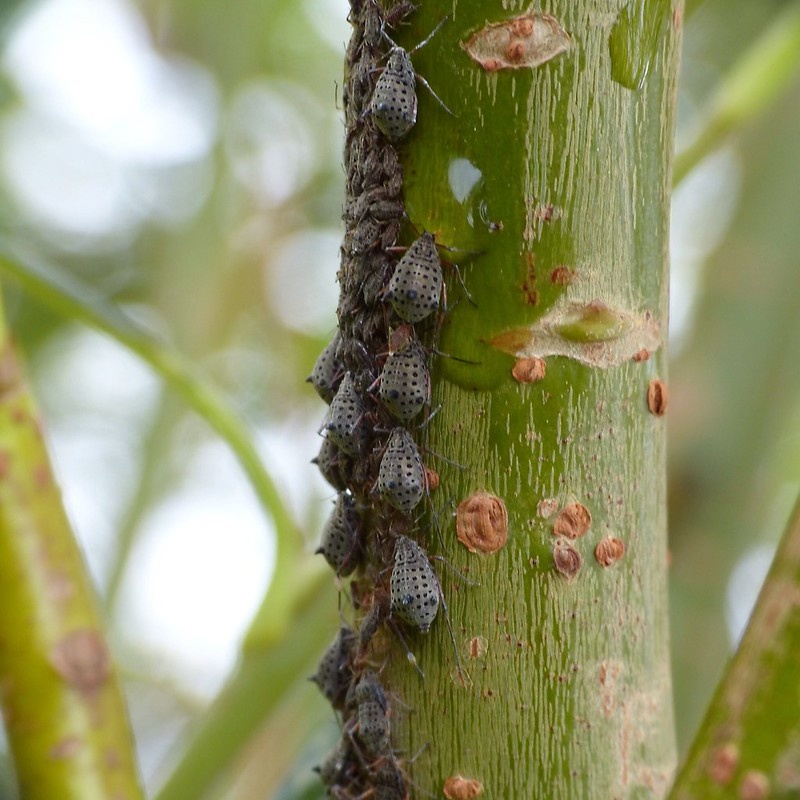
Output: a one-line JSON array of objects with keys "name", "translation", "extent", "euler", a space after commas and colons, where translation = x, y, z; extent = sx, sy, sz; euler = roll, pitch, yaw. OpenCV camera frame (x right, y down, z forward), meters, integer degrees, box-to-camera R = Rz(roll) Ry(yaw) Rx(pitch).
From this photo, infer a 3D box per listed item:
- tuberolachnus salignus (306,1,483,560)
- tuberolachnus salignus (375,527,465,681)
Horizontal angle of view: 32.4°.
[{"name": "tuberolachnus salignus", "translation": [-0.011, -0.145, 1.584], "extent": [0.154, 0.704, 0.173], "euler": [1, -5, -29]}, {"name": "tuberolachnus salignus", "translation": [0.023, 0.226, 1.508], "extent": [0.068, 0.159, 0.069], "euler": [-13, -36, -3]}]
